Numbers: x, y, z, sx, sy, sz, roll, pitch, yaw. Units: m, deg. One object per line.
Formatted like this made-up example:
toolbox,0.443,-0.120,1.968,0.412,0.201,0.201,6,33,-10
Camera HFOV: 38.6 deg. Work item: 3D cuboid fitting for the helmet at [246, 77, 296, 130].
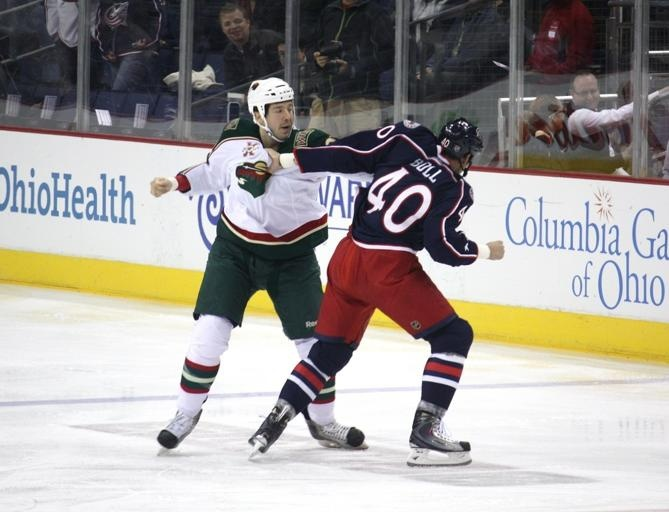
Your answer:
helmet,-0.332,-0.801,4.986,0.301,0.251,0.225,-2,4,41

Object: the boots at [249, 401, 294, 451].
boots,-0.326,0.896,4.934,0.107,0.313,0.124,44,-9,12

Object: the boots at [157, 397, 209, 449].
boots,-0.788,0.868,4.924,0.112,0.126,0.318,28,44,19

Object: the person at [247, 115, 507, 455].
person,0.204,0.178,4.741,0.997,1.705,0.370,2,9,0

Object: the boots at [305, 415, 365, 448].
boots,0.002,0.950,5.122,0.362,0.145,0.125,-2,7,25

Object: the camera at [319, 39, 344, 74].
camera,-0.027,-1.789,8.469,0.249,0.211,0.091,-3,3,42

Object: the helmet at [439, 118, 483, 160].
helmet,0.626,-0.591,4.810,0.241,0.219,0.185,-10,21,-28
